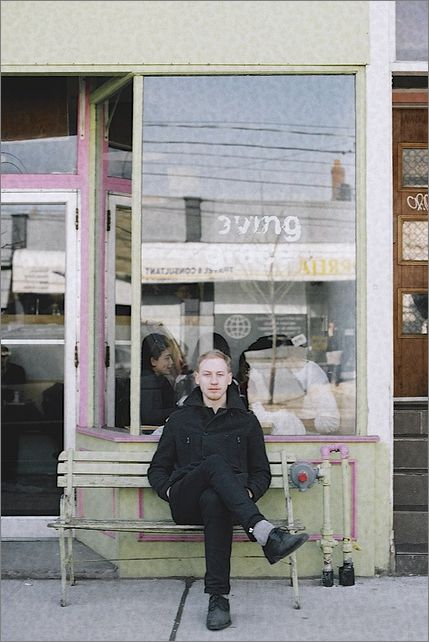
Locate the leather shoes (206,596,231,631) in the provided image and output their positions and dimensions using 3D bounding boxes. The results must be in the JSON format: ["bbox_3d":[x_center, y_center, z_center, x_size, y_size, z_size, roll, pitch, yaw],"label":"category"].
[{"bbox_3d":[0.025,1.533,7.342,0.138,0.144,0.167,-2,12,-5],"label":"leather shoes"}]
